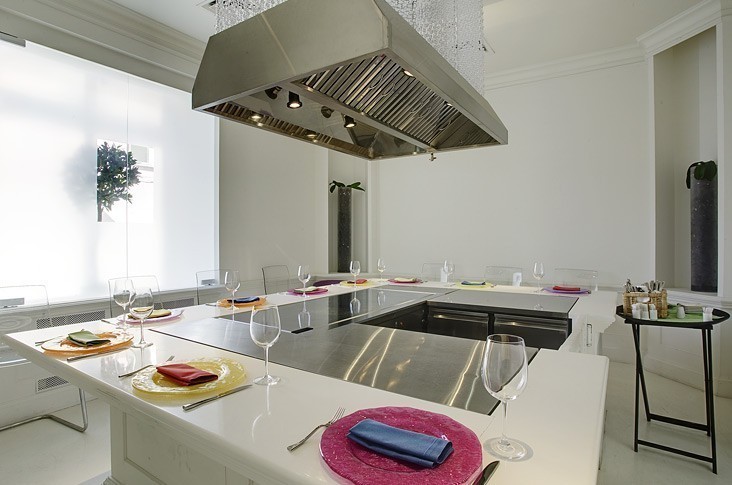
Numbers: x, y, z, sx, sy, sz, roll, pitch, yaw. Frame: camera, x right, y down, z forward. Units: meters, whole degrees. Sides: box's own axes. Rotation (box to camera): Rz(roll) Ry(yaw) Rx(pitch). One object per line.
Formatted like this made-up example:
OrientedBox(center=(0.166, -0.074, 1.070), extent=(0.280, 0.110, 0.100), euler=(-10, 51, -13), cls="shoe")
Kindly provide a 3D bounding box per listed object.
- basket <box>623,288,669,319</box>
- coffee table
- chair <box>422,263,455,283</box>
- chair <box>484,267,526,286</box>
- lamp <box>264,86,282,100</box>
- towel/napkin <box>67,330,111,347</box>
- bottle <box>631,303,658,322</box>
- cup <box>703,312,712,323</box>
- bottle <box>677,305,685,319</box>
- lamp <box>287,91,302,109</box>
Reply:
OrientedBox(center=(2.242, 0.466, 3.824), extent=(0.360, 0.251, 0.219), euler=(-3, -7, 35), cls="basket")
OrientedBox(center=(2.643, 1.144, 4.166), extent=(0.750, 1.292, 1.278), euler=(-2, 2, 28), cls="coffee table")
OrientedBox(center=(0.812, 0.359, 5.495), extent=(0.239, 0.231, 0.130), euler=(4, 6, 41), cls="chair")
OrientedBox(center=(1.561, 0.368, 5.332), extent=(0.247, 0.236, 0.350), euler=(0, 0, -36), cls="chair")
OrientedBox(center=(-0.640, -1.014, 3.206), extent=(0.087, 0.031, 0.062), euler=(-28, -26, 26), cls="lamp")
OrientedBox(center=(-1.734, 0.600, 2.932), extent=(0.197, 0.038, 0.117), euler=(4, 2, 33), cls="towel/napkin")
OrientedBox(center=(2.176, 0.547, 3.717), extent=(0.120, 0.112, 0.158), euler=(2, -5, -38), cls="bottle")
OrientedBox(center=(2.584, 0.571, 3.600), extent=(0.056, 0.062, 0.065), euler=(4, 4, 30), cls="cup")
OrientedBox(center=(2.473, 0.545, 3.734), extent=(0.045, 0.096, 0.109), euler=(-1, 2, 38), cls="bottle")
OrientedBox(center=(-0.511, -0.975, 3.273), extent=(0.075, 0.079, 0.070), euler=(0, -10, -5), cls="lamp")
